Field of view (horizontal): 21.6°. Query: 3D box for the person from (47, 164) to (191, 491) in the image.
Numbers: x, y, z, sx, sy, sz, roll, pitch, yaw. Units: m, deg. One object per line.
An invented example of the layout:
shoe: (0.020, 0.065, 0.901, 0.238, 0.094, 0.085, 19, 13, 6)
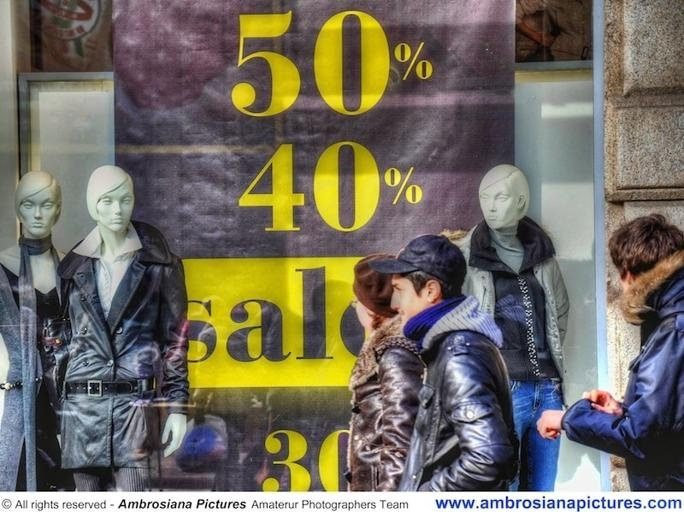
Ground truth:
person: (-1.471, 0.479, 12.000, 0.866, 2.153, 0.329, 1, -9, -5)

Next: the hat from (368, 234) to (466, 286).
hat: (0.527, 0.017, 11.945, 0.531, 0.248, 0.322, 8, -1, 6)

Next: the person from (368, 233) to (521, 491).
person: (0.692, 0.695, 11.833, 0.859, 1.708, 0.302, 1, -9, 1)
